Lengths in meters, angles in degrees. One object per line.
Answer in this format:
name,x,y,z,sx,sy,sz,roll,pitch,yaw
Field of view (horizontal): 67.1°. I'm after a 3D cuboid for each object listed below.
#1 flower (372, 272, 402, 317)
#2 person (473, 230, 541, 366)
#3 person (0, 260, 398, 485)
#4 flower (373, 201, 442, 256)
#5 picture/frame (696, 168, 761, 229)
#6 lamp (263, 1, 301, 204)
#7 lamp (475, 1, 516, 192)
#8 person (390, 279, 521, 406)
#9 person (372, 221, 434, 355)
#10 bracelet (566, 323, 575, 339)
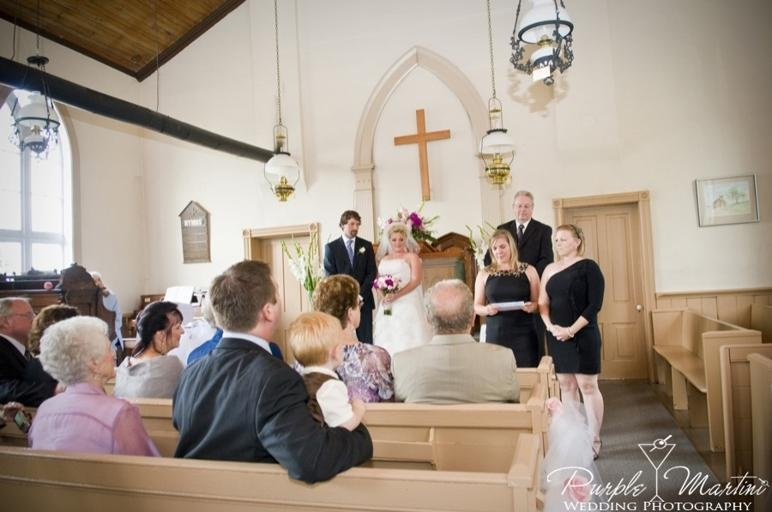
flower,0.014,0.405,6.134,0.383,0.465,0.369,1,6,11
person,1.184,0.680,5.471,0.608,1.773,0.573,-4,10,14
person,-0.712,0.646,3.372,1.151,1.260,0.348,-2,1,17
flower,0.294,-0.365,7.279,0.760,0.811,0.788,-2,7,-10
picture/frame,4.373,-0.720,7.334,0.722,0.738,0.073,-1,-2,6
lamp,-1.554,-2.381,8.546,0.542,2.972,1.071,-2,1,-12
lamp,1.444,-2.256,7.619,0.492,2.132,1.081,-2,0,10
person,0.458,0.675,4.172,0.977,0.974,0.538,-2,17,0
person,0.205,0.490,6.426,0.681,1.677,0.631,-1,9,11
bracelet,1.634,0.676,5.129,0.074,0.093,0.100,1,3,9
